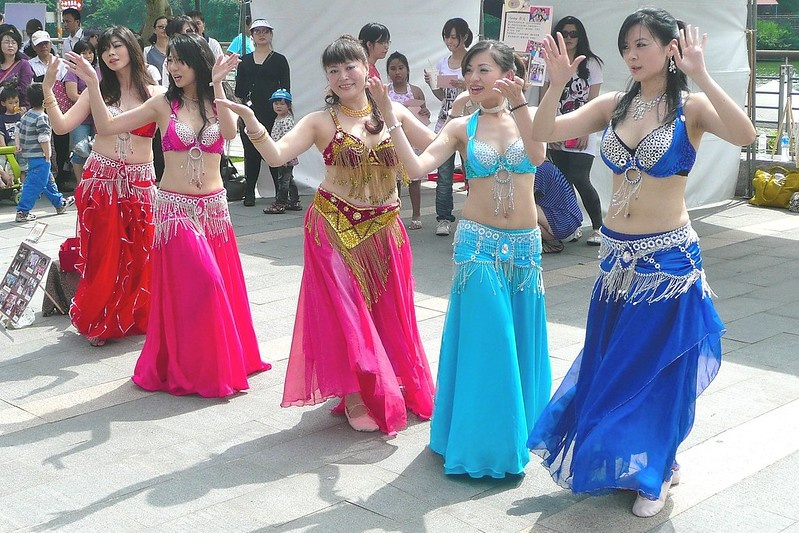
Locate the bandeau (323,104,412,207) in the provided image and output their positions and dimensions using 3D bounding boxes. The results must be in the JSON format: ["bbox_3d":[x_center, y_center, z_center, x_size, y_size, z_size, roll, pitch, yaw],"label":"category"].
[{"bbox_3d":[-0.216,-0.676,3.803,0.551,0.618,0.349,-13,17,-35],"label":"bandeau"}]

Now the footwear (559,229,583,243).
[{"bbox_3d":[2.058,-0.364,7.633,0.122,0.140,0.355,-5,7,29],"label":"footwear"}]

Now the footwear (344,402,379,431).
[{"bbox_3d":[-0.243,0.943,3.935,0.118,0.081,0.213,-22,46,-24],"label":"footwear"}]

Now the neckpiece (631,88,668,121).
[{"bbox_3d":[1.218,-0.772,3.111,0.110,0.091,0.250,-18,16,-31],"label":"neckpiece"}]

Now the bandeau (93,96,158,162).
[{"bbox_3d":[-2.238,-1.084,5.227,0.475,0.565,0.300,1,-11,-22],"label":"bandeau"}]

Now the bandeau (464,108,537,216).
[{"bbox_3d":[0.536,-0.567,3.445,0.368,0.551,0.204,1,13,18],"label":"bandeau"}]

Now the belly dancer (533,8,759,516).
[{"bbox_3d":[1.081,-0.020,3.126,0.860,2.365,0.736,-10,14,-28],"label":"belly dancer"}]

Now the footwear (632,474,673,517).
[{"bbox_3d":[1.254,1.124,3.155,0.092,0.102,0.275,-7,9,41],"label":"footwear"}]

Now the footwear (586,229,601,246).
[{"bbox_3d":[2.246,-0.339,7.506,0.155,0.144,0.395,1,15,8],"label":"footwear"}]

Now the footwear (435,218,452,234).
[{"bbox_3d":[0.536,-0.488,7.824,0.214,0.237,0.605,-1,2,8],"label":"footwear"}]

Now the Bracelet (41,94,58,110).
[{"bbox_3d":[-2.632,-1.221,4.753,0.110,0.103,0.116,-3,5,0],"label":"Bracelet"}]

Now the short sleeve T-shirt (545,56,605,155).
[{"bbox_3d":[2.044,-2.037,7.289,0.494,1.135,0.330,-3,53,14],"label":"short sleeve T-shirt"}]

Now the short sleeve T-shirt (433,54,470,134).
[{"bbox_3d":[0.664,-2.142,8.121,0.352,1.034,0.336,22,25,36],"label":"short sleeve T-shirt"}]
